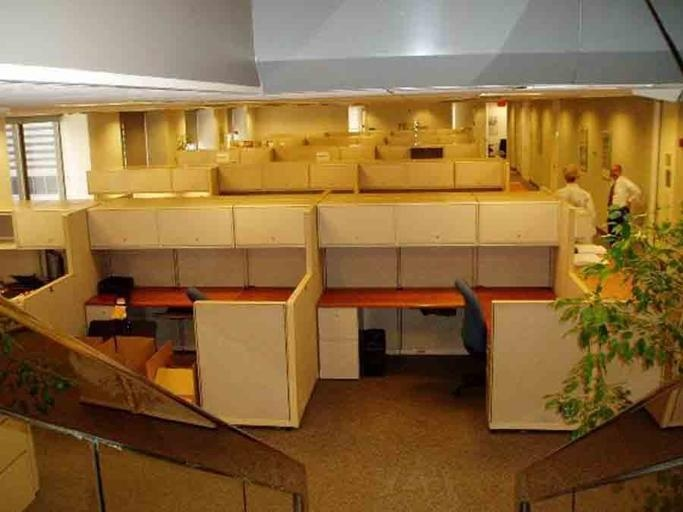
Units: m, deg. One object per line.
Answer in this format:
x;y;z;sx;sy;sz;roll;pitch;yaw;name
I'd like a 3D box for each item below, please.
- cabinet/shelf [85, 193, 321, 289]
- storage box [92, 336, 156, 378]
-1.350;-0.072;5.798;2.217;0.952;0.586;-2;13;10;cabinet/shelf
-1.932;0.873;5.125;0.465;0.172;0.351;6;17;-5;storage box
